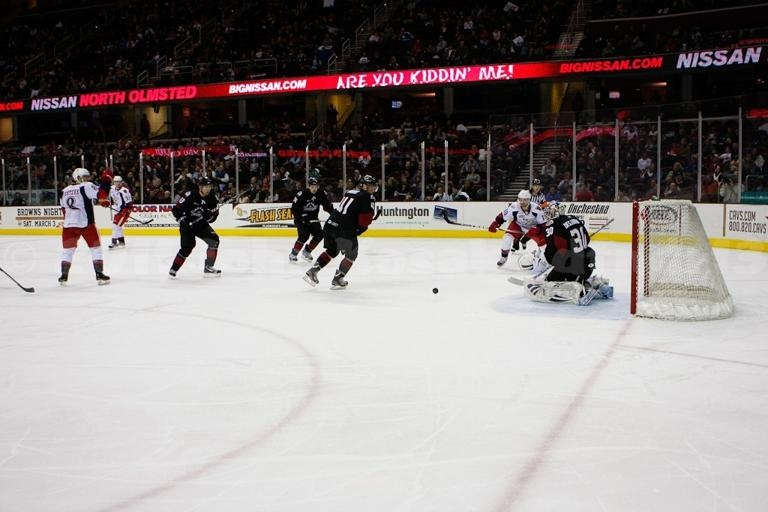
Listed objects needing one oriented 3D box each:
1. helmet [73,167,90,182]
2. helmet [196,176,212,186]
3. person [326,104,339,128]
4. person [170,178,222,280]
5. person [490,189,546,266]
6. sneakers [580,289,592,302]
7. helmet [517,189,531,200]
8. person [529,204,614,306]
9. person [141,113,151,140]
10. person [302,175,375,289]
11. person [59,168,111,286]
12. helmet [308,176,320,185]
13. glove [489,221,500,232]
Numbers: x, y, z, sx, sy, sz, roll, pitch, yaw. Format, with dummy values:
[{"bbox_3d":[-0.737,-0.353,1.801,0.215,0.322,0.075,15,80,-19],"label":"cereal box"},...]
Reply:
[{"bbox_3d":[-4.694,-1.254,11.555,0.260,0.230,0.211,-6,16,-18],"label":"helmet"},{"bbox_3d":[-2.891,-1.230,12.047,0.222,0.113,0.301,-4,2,-28],"label":"helmet"},{"bbox_3d":[-1.710,-4.556,24.524,0.275,0.674,0.921,-3,13,-8],"label":"person"},{"bbox_3d":[-3.148,-0.471,12.358,0.820,1.665,0.994,-4,14,-12],"label":"person"},{"bbox_3d":[2.441,-0.457,13.336,1.134,1.375,0.873,3,13,1],"label":"person"},{"bbox_3d":[2.608,0.509,9.557,0.101,0.167,0.192,11,18,40],"label":"sneakers"},{"bbox_3d":[2.440,-1.066,13.079,0.175,0.186,0.200,-1,14,33],"label":"helmet"},{"bbox_3d":[2.352,-0.066,9.867,0.913,1.302,1.003,-1,2,41],"label":"person"},{"bbox_3d":[-8.669,-4.570,27.043,0.274,0.727,0.728,-7,15,-22],"label":"person"},{"bbox_3d":[-0.572,-0.305,11.016,0.790,1.631,0.971,7,16,29],"label":"person"},{"bbox_3d":[-4.748,-0.454,11.811,0.902,1.829,1.115,-6,15,-20],"label":"person"},{"bbox_3d":[-1.282,-1.359,13.640,0.297,0.133,0.412,-1,5,-10],"label":"helmet"},{"bbox_3d":[1.887,-0.498,12.937,0.163,0.082,0.226,8,13,30],"label":"glove"}]
